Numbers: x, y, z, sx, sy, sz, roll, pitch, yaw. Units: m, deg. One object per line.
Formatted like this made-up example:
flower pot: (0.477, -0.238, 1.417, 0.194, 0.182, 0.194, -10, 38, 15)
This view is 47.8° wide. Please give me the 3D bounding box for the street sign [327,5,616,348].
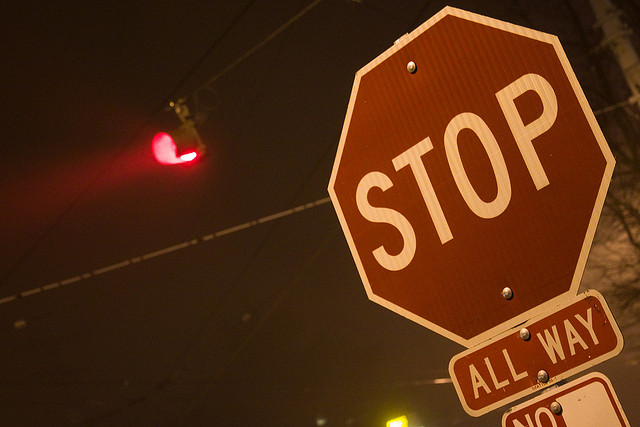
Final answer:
street sign: (1.034, -0.246, 5.058, 1.822, 2.379, 0.084, 11, 2, 11)
